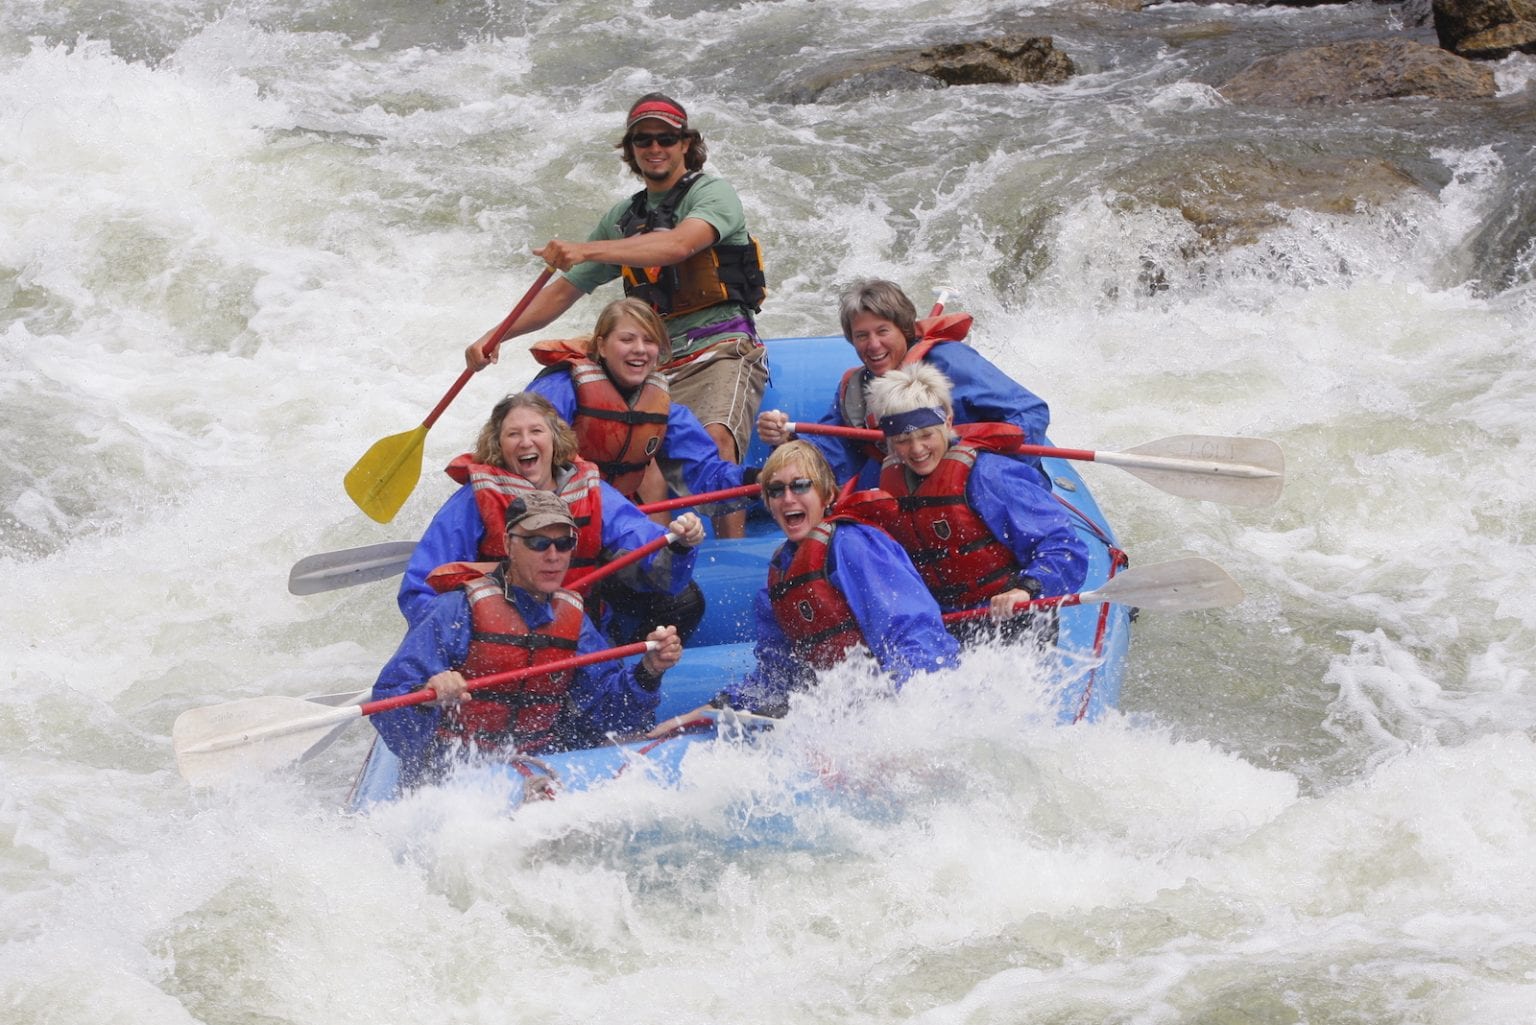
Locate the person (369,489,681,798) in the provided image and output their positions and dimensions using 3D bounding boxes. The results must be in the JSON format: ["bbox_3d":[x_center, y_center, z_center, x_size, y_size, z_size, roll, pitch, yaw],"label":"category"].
[{"bbox_3d":[-1.168,0.738,9.992,1.106,0.609,1.478,36,79,10],"label":"person"}]

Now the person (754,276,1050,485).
[{"bbox_3d":[0.835,-0.377,11.265,1.275,1.452,0.537,-2,44,4],"label":"person"}]

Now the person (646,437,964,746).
[{"bbox_3d":[0.196,0.426,10.177,1.030,1.213,1.197,-12,78,-36],"label":"person"}]

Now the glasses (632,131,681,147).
[{"bbox_3d":[-0.592,-1.974,11.159,0.231,0.065,0.058,-4,76,0],"label":"glasses"}]

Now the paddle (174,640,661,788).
[{"bbox_3d":[-1.619,0.984,10.109,2.794,0.262,0.408,-12,92,-10],"label":"paddle"}]

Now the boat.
[{"bbox_3d":[0.197,0.507,10.931,2.370,0.667,3.326,9,42,9],"label":"boat"}]

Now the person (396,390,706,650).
[{"bbox_3d":[-1.180,-0.001,10.649,1.346,0.973,1.283,2,63,-24],"label":"person"}]

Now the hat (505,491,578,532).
[{"bbox_3d":[-1.101,-0.012,9.932,0.307,0.105,0.203,-11,75,-2],"label":"hat"}]
